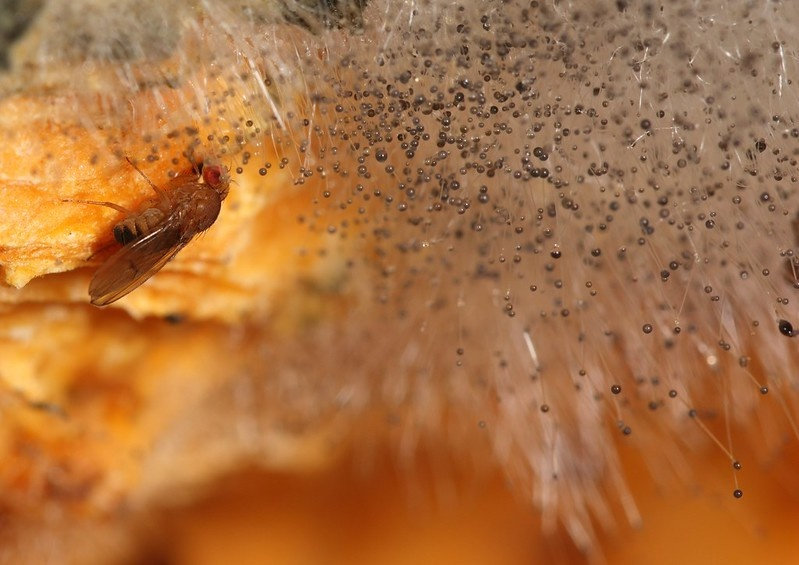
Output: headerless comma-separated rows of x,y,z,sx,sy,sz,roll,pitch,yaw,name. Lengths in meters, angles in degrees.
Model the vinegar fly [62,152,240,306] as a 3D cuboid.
-0.346,-0.078,1.174,0.265,0.215,0.084,-45,119,-12,vinegar fly
